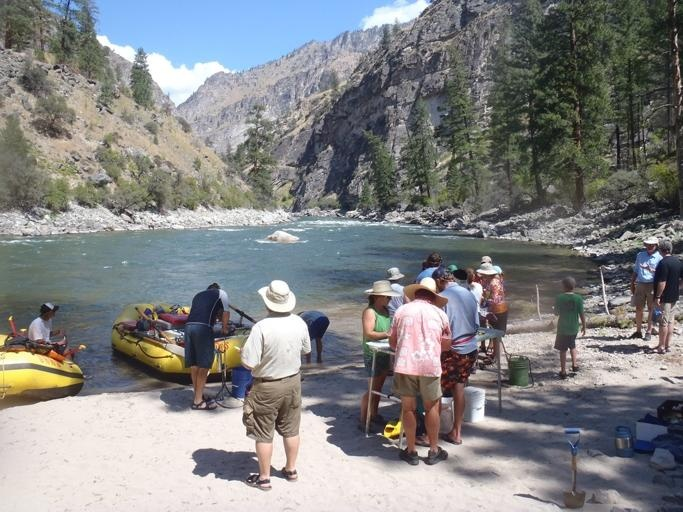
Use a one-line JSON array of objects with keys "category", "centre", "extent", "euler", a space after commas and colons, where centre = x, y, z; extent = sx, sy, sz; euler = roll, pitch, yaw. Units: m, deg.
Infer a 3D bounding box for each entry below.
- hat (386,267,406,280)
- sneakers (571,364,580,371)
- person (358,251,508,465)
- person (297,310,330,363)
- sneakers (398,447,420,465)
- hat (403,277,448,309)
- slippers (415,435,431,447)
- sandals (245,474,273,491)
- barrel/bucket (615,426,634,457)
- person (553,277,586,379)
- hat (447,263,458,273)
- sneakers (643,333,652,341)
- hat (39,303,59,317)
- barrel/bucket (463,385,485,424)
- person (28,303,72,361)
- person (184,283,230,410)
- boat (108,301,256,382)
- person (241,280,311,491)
[{"category": "hat", "centre": [1.022, 0.371, 10.830], "extent": [0.303, 0.147, 0.292], "euler": [-5, 4, 3]}, {"category": "sneakers", "centre": [4.905, 2.367, 11.747], "extent": [0.126, 0.122, 0.371], "euler": [-5, -10, 20]}, {"category": "person", "centre": [1.460, 1.762, 9.054], "extent": [0.880, 2.855, 1.496], "euler": [7, 14, 37]}, {"category": "person", "centre": [-0.674, 2.006, 14.353], "extent": [0.744, 1.388, 0.447], "euler": [3, 0, -1]}, {"category": "sneakers", "centre": [1.059, 3.176, 8.797], "extent": [0.152, 0.132, 0.320], "euler": [-1, 7, -15]}, {"category": "hat", "centre": [1.341, 0.548, 8.798], "extent": [0.489, 0.227, 0.557], "euler": [18, -24, 37]}, {"category": "slippers", "centre": [1.350, 3.122, 9.376], "extent": [0.188, 0.046, 0.167], "euler": [0, 5, -16]}, {"category": "sandals", "centre": [-1.230, 3.368, 8.304], "extent": [0.365, 0.141, 0.181], "euler": [7, -2, 32]}, {"category": "barrel/bucket", "centre": [4.358, 2.898, 8.633], "extent": [0.254, 0.408, 0.313], "euler": [5, -18, -1]}, {"category": "person", "centre": [4.752, 1.462, 11.664], "extent": [0.560, 2.107, 0.948], "euler": [4, 12, 23]}, {"category": "hat", "centre": [2.751, 0.311, 13.866], "extent": [0.190, 0.137, 0.144], "euler": [15, -13, -34]}, {"category": "sneakers", "centre": [7.014, 1.875, 12.818], "extent": [0.172, 0.164, 0.165], "euler": [-1, -9, 1]}, {"category": "hat", "centre": [-6.356, 1.169, 12.125], "extent": [0.309, 0.361, 0.585], "euler": [-7, 12, -28]}, {"category": "barrel/bucket", "centre": [2.316, 2.718, 10.084], "extent": [0.544, 0.497, 0.509], "euler": [0, -8, 0]}, {"category": "person", "centre": [-6.293, 1.681, 12.087], "extent": [0.986, 1.180, 0.710], "euler": [2, 3, -1]}, {"category": "person", "centre": [-2.630, 1.796, 10.800], "extent": [0.622, 2.348, 0.802], "euler": [7, 14, 36]}, {"category": "boat", "centre": [-4.435, 1.992, 13.787], "extent": [2.013, 0.925, 3.321], "euler": [-2, 4, -40]}, {"category": "person", "centre": [-1.021, 1.898, 8.361], "extent": [0.773, 3.008, 0.975], "euler": [4, 12, 22]}]
